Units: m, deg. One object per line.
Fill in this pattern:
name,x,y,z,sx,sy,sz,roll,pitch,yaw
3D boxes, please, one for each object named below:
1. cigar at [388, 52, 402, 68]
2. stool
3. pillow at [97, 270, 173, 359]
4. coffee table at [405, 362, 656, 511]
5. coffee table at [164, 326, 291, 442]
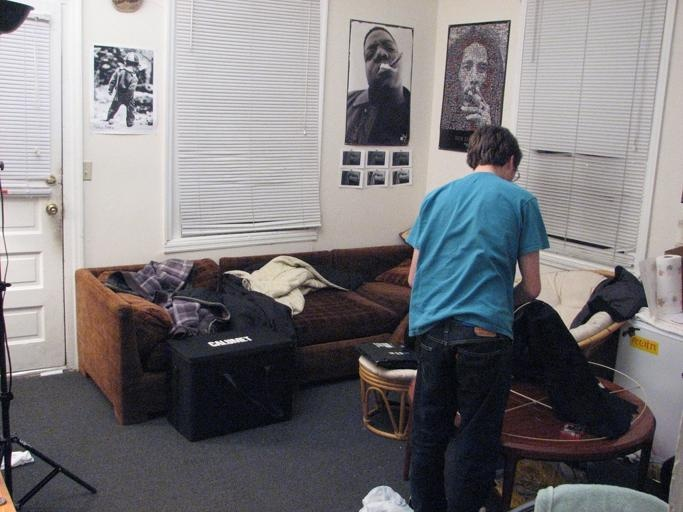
cigar,0.531,-1.884,5.001,0.234,0.060,0.061,-47,-9,-21
stool,0.319,0.919,3.485,0.444,0.468,0.482,3,2,23
pillow,-1.427,0.399,3.498,0.636,0.508,0.286,11,18,38
coffee table,1.008,0.761,2.494,0.760,0.439,0.771,-2,8,-14
coffee table,-0.790,0.689,3.490,0.831,0.591,0.589,-1,5,-34
